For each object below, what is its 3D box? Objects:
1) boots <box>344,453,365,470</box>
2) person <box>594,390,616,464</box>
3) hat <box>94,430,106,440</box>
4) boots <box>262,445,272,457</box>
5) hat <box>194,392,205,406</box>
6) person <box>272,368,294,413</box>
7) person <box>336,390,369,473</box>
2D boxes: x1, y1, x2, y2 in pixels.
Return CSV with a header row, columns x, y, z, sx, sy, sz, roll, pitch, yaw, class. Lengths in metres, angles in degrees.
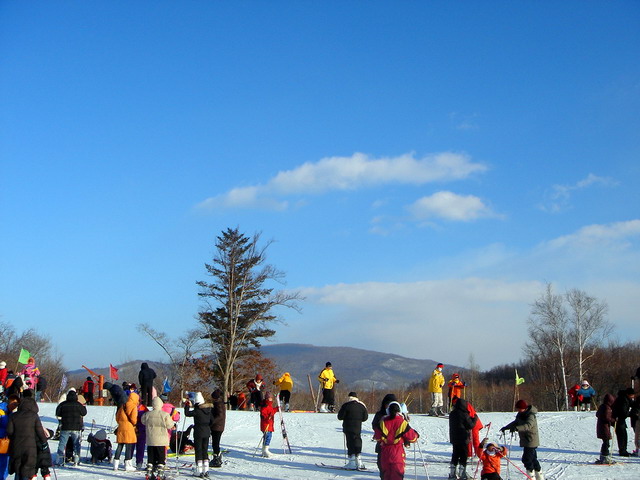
x,y,z,sx,sy,sz,roll,pitch,yaw,class
1.224,7.650,26.279,0.381,0.680,0.901,4,-5,-27,boots
9.783,6.502,26.139,0.664,2.292,0.985,-6,-13,21,person
-7.468,6.703,26.118,0.240,0.359,0.341,19,13,-10,hat
-1.905,7.765,27.797,0.342,0.404,0.474,-1,-13,-5,boots
-3.953,5.317,25.367,0.343,0.392,1.008,-3,-14,7,hat
-1.726,7.485,37.519,0.919,2.123,0.682,-1,30,-7,person
1.153,6.529,25.918,0.929,2.567,0.772,-2,-12,2,person
